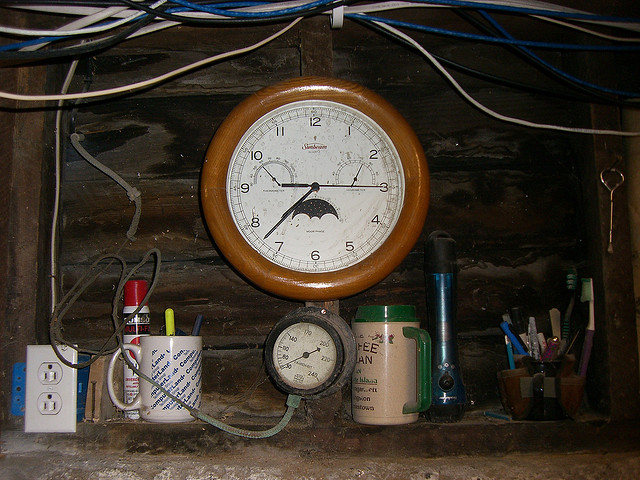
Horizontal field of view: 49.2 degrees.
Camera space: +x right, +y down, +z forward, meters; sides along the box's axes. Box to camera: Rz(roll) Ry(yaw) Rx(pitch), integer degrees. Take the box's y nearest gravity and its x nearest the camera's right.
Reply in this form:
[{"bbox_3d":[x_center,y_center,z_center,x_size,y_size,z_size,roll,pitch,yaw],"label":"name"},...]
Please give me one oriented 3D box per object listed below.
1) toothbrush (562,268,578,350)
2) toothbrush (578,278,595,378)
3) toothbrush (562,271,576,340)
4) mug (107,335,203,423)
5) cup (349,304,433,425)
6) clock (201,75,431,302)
[{"bbox_3d":[0.710,0.199,1.993,0.041,0.224,0.023,3,-2,22],"label":"toothbrush"},{"bbox_3d":[0.752,0.249,1.966,0.041,0.342,0.031,2,-6,26],"label":"toothbrush"},{"bbox_3d":[0.706,0.187,2.012,0.038,0.196,0.115,-1,-2,16],"label":"toothbrush"},{"bbox_3d":[-0.456,0.393,1.960,0.287,0.223,0.168,0,-9,-15],"label":"mug"},{"bbox_3d":[0.189,0.345,1.910,0.220,0.326,0.098,-3,-7,6],"label":"cup"},{"bbox_3d":[-0.013,-0.114,1.964,0.750,0.659,0.145,-2,1,-4],"label":"clock"}]
